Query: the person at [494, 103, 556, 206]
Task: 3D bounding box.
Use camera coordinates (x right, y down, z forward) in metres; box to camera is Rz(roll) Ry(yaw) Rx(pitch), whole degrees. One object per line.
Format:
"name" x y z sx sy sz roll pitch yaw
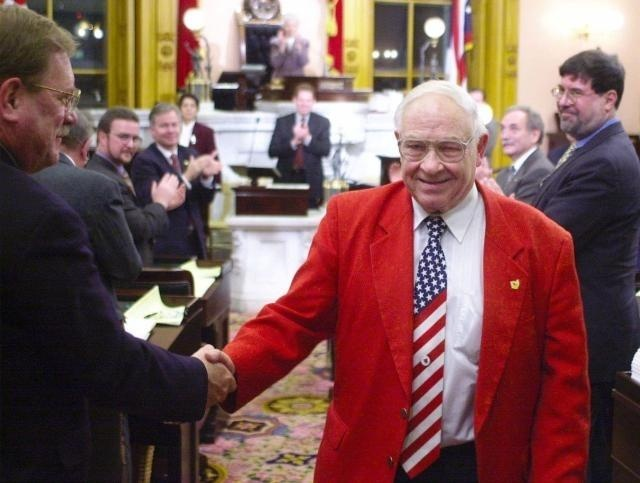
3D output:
"person" 1.571 -0.617 5.454 0.401 0.866 0.502 -5 12 -34

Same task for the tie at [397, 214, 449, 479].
"tie" 0.327 0.333 2.147 0.114 0.727 0.217 3 8 12

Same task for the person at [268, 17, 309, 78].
"person" -0.412 -2.681 9.690 0.557 0.815 0.478 0 8 -11

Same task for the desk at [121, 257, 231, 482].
"desk" -0.605 0.537 2.893 0.260 0.716 0.979 -1 9 0

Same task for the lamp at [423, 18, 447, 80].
"lamp" 1.332 -2.156 7.928 0.191 0.683 0.192 1 -22 4
